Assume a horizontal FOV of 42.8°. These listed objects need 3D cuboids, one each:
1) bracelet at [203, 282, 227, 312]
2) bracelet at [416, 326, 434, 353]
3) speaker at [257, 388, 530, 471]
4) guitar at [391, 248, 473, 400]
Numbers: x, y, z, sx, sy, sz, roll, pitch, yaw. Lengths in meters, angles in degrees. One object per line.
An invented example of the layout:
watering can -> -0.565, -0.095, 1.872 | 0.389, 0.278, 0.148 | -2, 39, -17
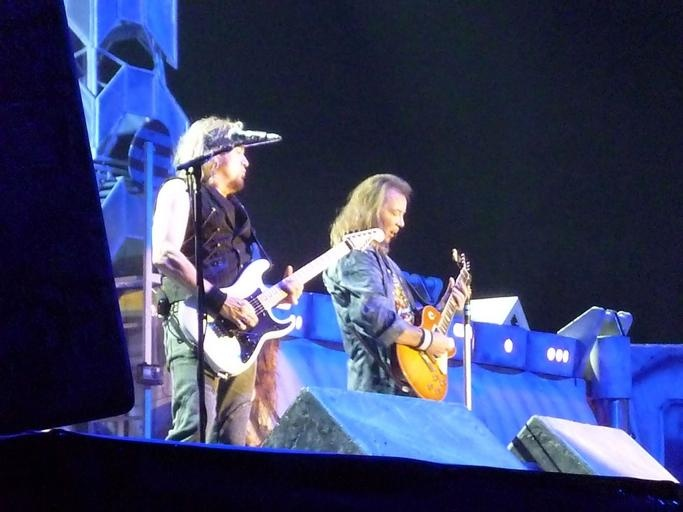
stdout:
bracelet -> -0.618, 0.197, 4.294 | 0.099, 0.109, 0.094 | 4, -23, 31
bracelet -> 0.474, 0.479, 5.025 | 0.048, 0.125, 0.088 | 7, -10, -6
speaker -> 0.181, 0.547, 2.754 | 0.813, 0.207, 0.352 | 3, 8, -20
guitar -> 0.521, 0.435, 5.126 | 0.086, 0.772, 0.317 | -16, -45, 37
